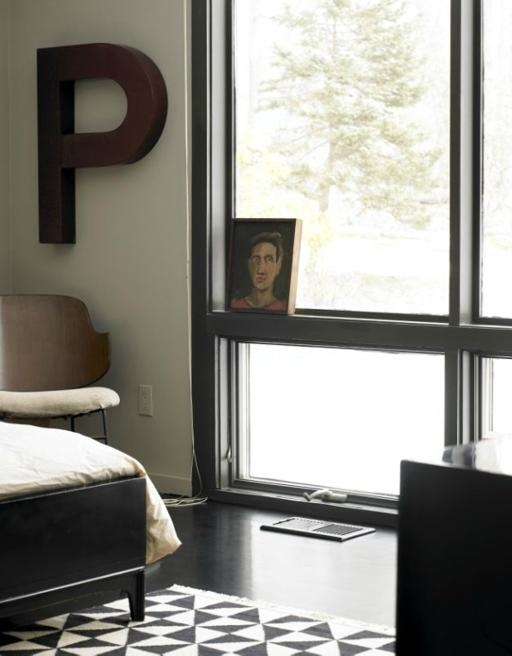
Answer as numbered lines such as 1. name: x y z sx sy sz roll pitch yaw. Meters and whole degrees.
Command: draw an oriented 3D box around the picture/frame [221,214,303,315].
1. picture/frame: 0.043 -0.278 3.318 0.324 0.536 0.097 4 4 38
